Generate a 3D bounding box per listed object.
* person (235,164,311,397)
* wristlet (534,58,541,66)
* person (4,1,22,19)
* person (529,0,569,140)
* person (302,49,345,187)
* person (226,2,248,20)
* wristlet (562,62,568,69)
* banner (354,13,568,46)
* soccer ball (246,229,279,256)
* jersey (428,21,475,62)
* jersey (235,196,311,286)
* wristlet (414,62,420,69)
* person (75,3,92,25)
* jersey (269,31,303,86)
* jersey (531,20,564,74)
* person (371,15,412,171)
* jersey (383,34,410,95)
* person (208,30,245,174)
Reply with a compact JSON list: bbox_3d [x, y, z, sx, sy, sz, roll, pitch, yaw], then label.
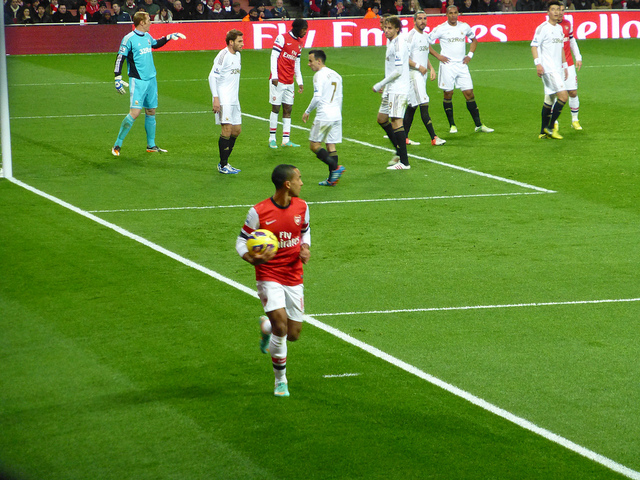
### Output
[{"bbox_3d":[-0.412,0.347,8.057,0.625,1.971,0.488,1,11,-4],"label":"person"},{"bbox_3d":[3.988,-3.263,17.015,0.139,0.124,0.133,-7,6,-23],"label":"wristlet"},{"bbox_3d":[-9.672,-7.261,29.294,0.403,0.511,1.099,0,12,-9],"label":"person"},{"bbox_3d":[4.318,-3.175,17.450,0.740,2.560,1.189,4,12,13],"label":"person"},{"bbox_3d":[0.075,-1.819,14.069,0.608,2.051,0.771,2,11,1],"label":"person"},{"bbox_3d":[-2.875,-7.763,31.665,0.830,0.532,0.492,-7,15,-38],"label":"person"},{"bbox_3d":[4.665,-3.307,17.637,0.092,0.094,0.095,17,23,42],"label":"wristlet"},{"bbox_3d":[5.239,-7.517,32.868,9.941,1.296,0.077,-8,3,-30],"label":"banner"},{"bbox_3d":[-0.489,0.028,7.894,0.270,0.203,0.193,0,12,-8],"label":"soccer ball"},{"bbox_3d":[2.618,-3.870,18.160,1.003,0.756,0.374,-8,30,-13],"label":"jersey"},{"bbox_3d":[-0.362,0.025,8.105,0.854,0.791,0.459,-8,17,-34],"label":"jersey"},{"bbox_3d":[1.774,-3.143,16.749,0.126,0.114,0.122,-1,4,-7],"label":"wristlet"},{"bbox_3d":[-7.691,-7.337,30.148,0.536,0.718,1.751,-1,12,-14],"label":"person"},{"bbox_3d":[-0.608,-3.294,16.858,0.548,0.951,0.801,1,11,-3],"label":"jersey"},{"bbox_3d":[4.255,-3.572,17.262,0.669,0.951,0.417,2,11,0],"label":"jersey"},{"bbox_3d":[1.281,-2.387,15.248,0.576,2.491,0.708,2,11,3],"label":"person"},{"bbox_3d":[1.271,-2.843,15.196,0.488,1.151,1.206,1,12,8],"label":"jersey"},{"bbox_3d":[-1.511,-2.200,14.897,0.506,2.278,0.695,0,11,-6],"label":"person"}]
